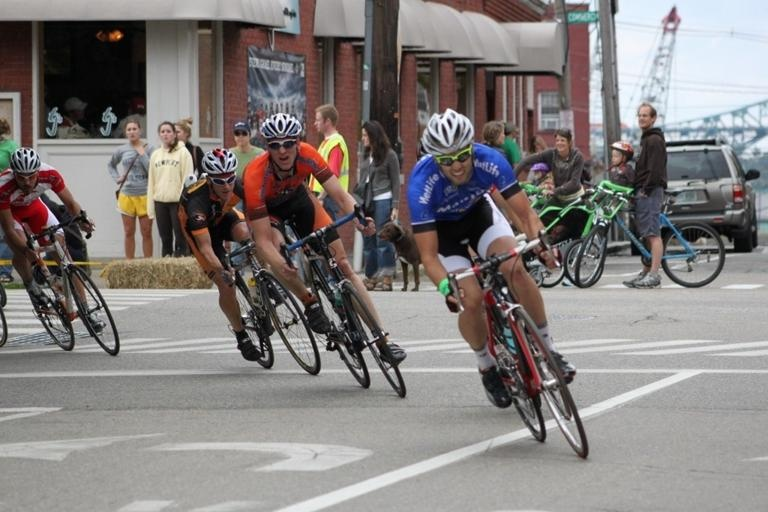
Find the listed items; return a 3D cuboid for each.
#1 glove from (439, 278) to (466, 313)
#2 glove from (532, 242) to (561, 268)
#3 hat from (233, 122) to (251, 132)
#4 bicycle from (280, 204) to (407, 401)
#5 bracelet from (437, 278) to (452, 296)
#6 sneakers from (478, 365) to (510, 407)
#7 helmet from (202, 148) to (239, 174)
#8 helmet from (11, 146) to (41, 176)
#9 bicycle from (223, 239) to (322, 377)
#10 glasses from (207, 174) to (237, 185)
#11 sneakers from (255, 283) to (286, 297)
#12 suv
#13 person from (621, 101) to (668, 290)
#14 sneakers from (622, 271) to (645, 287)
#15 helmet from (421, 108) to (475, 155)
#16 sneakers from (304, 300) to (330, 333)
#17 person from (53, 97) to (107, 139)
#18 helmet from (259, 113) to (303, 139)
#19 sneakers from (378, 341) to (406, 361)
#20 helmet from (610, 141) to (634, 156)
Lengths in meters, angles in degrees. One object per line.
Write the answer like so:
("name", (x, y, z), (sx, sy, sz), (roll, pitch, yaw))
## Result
("glove", (0.579, 0.280, 8.392), (0.119, 0.196, 0.299), (1, 34, -23))
("glove", (1.342, -0.025, 8.440), (0.205, 0.148, 0.085), (35, 50, 6))
("hat", (-2.158, -1.953, 15.568), (0.194, 0.156, 0.327), (-2, 0, -1))
("bicycle", (-0.401, 0.480, 10.079), (0.592, 1.749, 1.381), (-10, 9, -32))
("bracelet", (0.494, 0.255, 8.484), (0.103, 0.138, 0.136), (-4, -17, -5))
("sneakers", (0.961, 1.134, 9.015), (0.152, 0.479, 0.185), (-21, 2, -2))
("helmet", (-1.723, -0.967, 10.669), (0.352, 0.249, 0.309), (-9, 9, -22))
("helmet", (-4.117, -1.101, 11.751), (0.247, 0.372, 0.137), (0, -16, -25))
("bicycle", (-1.371, 0.540, 11.341), (0.604, 1.598, 2.451), (-18, 7, -21))
("glasses", (-1.666, -0.785, 10.660), (0.286, 0.105, 0.143), (-11, 10, -30))
("sneakers", (-1.195, 0.359, 10.842), (0.212, 0.078, 0.155), (20, -9, 20))
("suv", (7.363, -1.555, 23.204), (1.594, 1.604, 3.265), (0, 8, 15))
("person", (4.158, -0.905, 16.288), (0.679, 2.955, 0.798), (-4, 8, 11))
("sneakers", (4.077, 0.384, 16.620), (0.483, 0.226, 0.179), (-2, 3, -1))
("helmet", (0.555, -1.072, 8.722), (0.442, 0.330, 0.640), (-21, 11, 16))
("sneakers", (-0.718, 0.627, 10.370), (0.270, 0.111, 0.183), (34, 18, 31))
("person", (-6.171, -2.757, 20.922), (1.033, 1.134, 0.664), (-11, 7, -19))
("helmet", (-1.032, -1.274, 10.216), (0.340, 0.245, 0.418), (-6, 9, 2))
("sneakers", (0.058, 0.895, 9.770), (0.133, 0.139, 0.322), (-12, 14, -32))
("helmet", (3.975, -1.771, 16.954), (0.375, 0.186, 0.262), (15, 2, -7))
